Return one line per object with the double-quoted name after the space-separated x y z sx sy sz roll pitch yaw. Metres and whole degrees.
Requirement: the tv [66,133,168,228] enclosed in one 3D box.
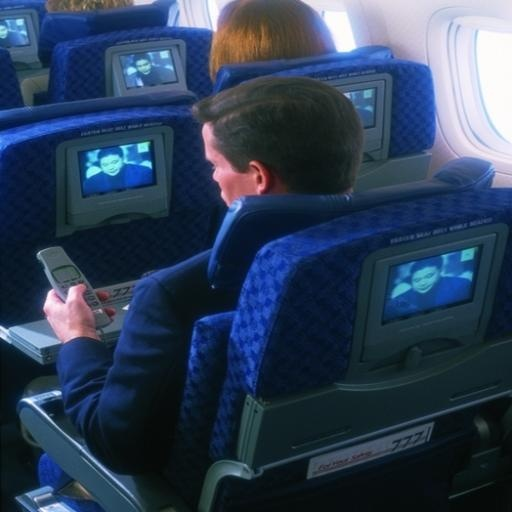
-0.438 -0.243 1.624 0.259 0.203 0.131 -14 34 -27 "tv"
